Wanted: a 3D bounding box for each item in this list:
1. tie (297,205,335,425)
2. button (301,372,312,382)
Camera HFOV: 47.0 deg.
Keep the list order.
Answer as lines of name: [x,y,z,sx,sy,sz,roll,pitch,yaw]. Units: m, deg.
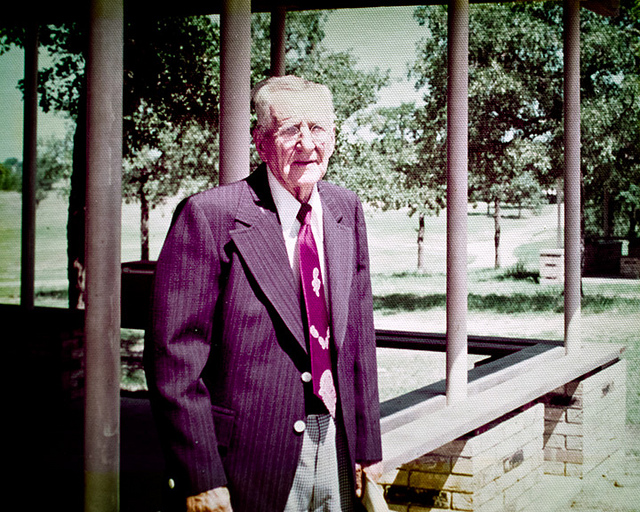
tie: [-0.017,0.239,3.024,0.115,0.989,0.100,-11,-10,35]
button: [-0.056,0.478,2.950,0.042,0.036,0.009,8,-2,-22]
